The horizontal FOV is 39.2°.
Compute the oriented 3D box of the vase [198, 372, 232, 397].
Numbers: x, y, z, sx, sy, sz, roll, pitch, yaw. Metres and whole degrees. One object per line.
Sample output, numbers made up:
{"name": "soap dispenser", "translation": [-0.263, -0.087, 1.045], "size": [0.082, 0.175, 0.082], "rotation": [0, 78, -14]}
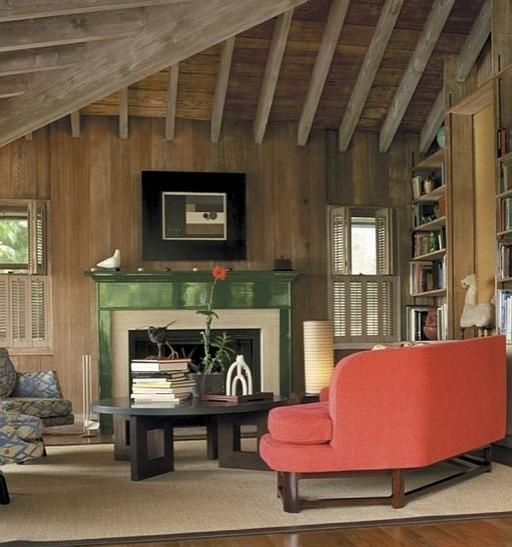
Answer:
{"name": "vase", "translation": [-0.242, 0.637, 4.331], "size": [0.244, 0.147, 0.127], "rotation": [1, -8, -18]}

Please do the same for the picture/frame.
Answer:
{"name": "picture/frame", "translation": [-0.551, -0.519, 6.506], "size": [0.659, 0.414, 0.028], "rotation": [-3, 5, -35]}

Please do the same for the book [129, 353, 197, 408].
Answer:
{"name": "book", "translation": [-0.542, 0.630, 4.149], "size": [0.325, 0.187, 0.291], "rotation": [0, -6, -4]}
